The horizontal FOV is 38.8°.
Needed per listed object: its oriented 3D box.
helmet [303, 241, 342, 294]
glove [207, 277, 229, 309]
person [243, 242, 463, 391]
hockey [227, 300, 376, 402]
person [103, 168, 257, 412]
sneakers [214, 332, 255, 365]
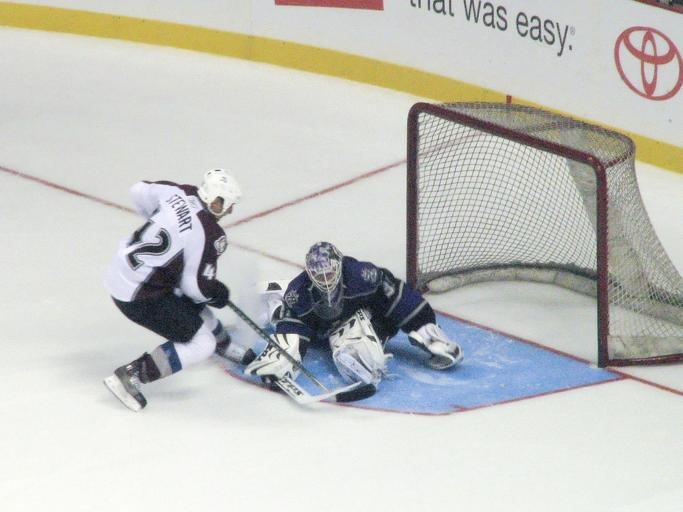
[{"bbox_3d":[-0.105,0.061,5.057,0.191,0.252,0.148,-4,-12,5],"label":"helmet"},{"bbox_3d":[-0.682,0.195,5.067,0.121,0.143,0.147,-13,-24,22],"label":"glove"},{"bbox_3d":[0.058,0.282,5.436,0.936,0.498,0.876,-11,23,-1],"label":"person"},{"bbox_3d":[-0.199,0.607,5.103,0.955,0.371,0.077,51,0,24],"label":"hockey"},{"bbox_3d":[-0.835,0.159,5.014,0.736,1.208,0.531,4,17,-13],"label":"person"},{"bbox_3d":[-0.590,0.508,5.266,0.187,0.060,0.129,24,-21,-25],"label":"sneakers"}]
